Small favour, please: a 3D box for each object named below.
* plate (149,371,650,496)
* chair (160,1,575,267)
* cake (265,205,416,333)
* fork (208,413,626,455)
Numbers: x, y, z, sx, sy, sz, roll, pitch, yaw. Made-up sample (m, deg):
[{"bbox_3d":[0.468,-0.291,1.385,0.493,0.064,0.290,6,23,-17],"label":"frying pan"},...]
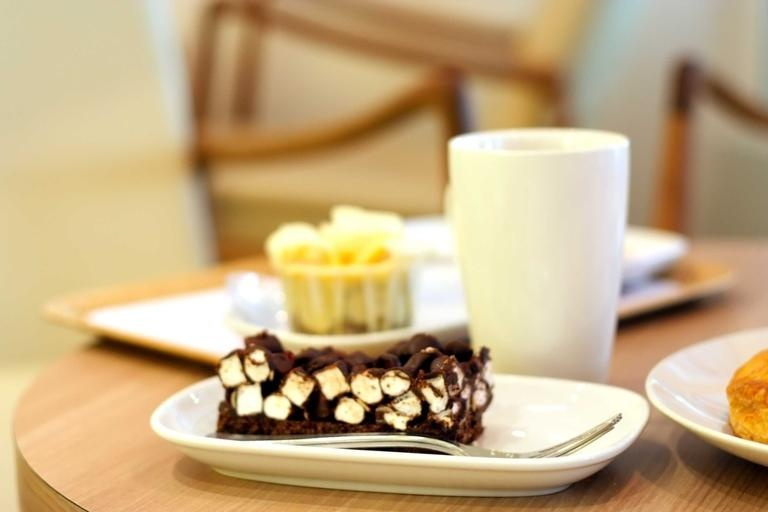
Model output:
[{"bbox_3d":[0.009,0.151,0.556,0.267,0.029,0.162,1,5,16],"label":"plate"},{"bbox_3d":[0.026,-0.185,1.084,0.380,0.544,0.349,5,20,24],"label":"chair"},{"bbox_3d":[-0.054,0.015,0.855,0.149,0.100,0.144,-3,8,44],"label":"cake"},{"bbox_3d":[0.019,0.144,0.562,0.331,0.038,0.027,0,14,6],"label":"fork"}]
